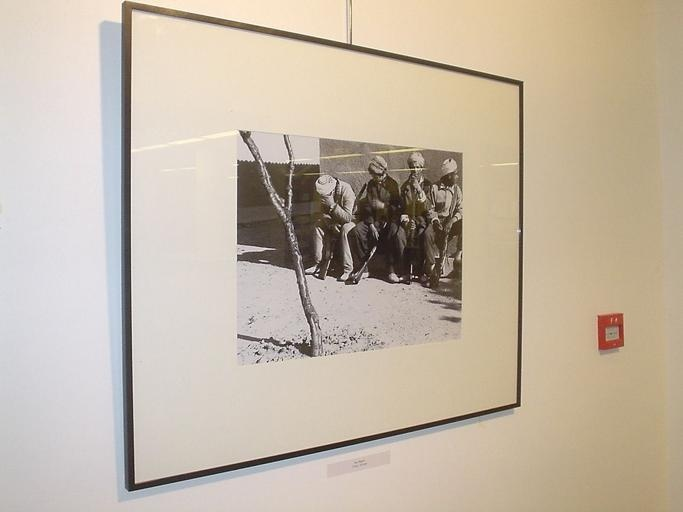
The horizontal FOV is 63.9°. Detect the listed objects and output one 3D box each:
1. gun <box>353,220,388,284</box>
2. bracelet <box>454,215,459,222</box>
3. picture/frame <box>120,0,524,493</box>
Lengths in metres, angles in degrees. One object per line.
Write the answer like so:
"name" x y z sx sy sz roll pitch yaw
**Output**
"gun" 0.070 -0.041 1.321 0.057 0.207 0.042 21 -33 -18
"bracelet" 0.298 -0.097 1.426 0.021 0.007 0.007 -21 -16 -26
"picture/frame" -0.076 -0.026 1.292 1.146 1.125 0.040 -2 4 -26
